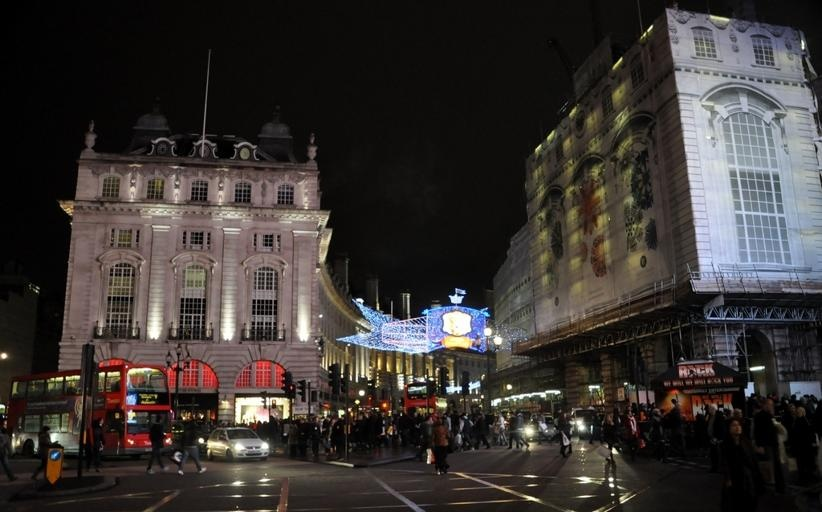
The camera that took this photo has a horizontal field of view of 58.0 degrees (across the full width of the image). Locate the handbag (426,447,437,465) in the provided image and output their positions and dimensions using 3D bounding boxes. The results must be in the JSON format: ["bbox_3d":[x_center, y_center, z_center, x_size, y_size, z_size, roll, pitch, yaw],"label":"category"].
[{"bbox_3d":[1.179,11.582,43.054,0.518,0.599,1.465,2,-2,3],"label":"handbag"}]
